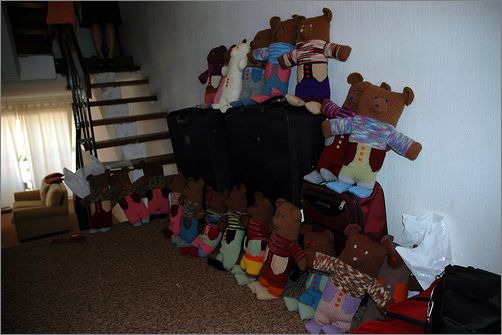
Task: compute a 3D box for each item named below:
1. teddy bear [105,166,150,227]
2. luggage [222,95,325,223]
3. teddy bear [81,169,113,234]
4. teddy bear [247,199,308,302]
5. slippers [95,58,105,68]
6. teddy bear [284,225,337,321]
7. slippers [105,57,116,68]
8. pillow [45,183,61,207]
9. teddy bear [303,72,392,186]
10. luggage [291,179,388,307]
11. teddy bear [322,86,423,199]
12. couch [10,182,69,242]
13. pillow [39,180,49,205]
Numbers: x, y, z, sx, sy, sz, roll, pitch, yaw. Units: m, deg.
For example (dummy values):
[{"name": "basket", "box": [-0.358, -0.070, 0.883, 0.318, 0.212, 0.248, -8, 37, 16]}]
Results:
[{"name": "teddy bear", "box": [-1.274, 0.303, 3.427, 0.308, 0.718, 0.162, -27, 1, -14]}, {"name": "luggage", "box": [0.230, -0.070, 2.812, 0.710, 0.993, 0.575, 9, 21, 39]}, {"name": "teddy bear", "box": [-1.531, 0.348, 3.357, 0.264, 0.592, 0.161, -8, 16, -16]}, {"name": "teddy bear", "box": [0.204, 0.620, 2.446, 0.325, 0.747, 0.573, 4, 9, -29]}, {"name": "slippers", "box": [-2.370, -1.636, 5.219, 0.128, 0.158, 0.307, -5, 16, -6]}, {"name": "teddy bear", "box": [0.427, 0.727, 2.316, 0.344, 0.598, 0.345, 3, -4, -43]}, {"name": "slippers", "box": [-2.258, -1.684, 5.332, 0.176, 0.164, 0.247, -10, 17, -20]}, {"name": "pillow", "box": [-3.552, 0.505, 5.981, 0.133, 0.190, 0.351, -5, 11, -23]}, {"name": "teddy bear", "box": [0.685, -0.253, 2.338, 0.311, 0.880, 0.536, 1, 20, -45]}, {"name": "luggage", "box": [0.744, 0.320, 2.540, 0.563, 0.763, 0.487, 16, 50, 35]}, {"name": "teddy bear", "box": [0.847, -0.170, 2.284, 0.576, 0.681, 0.219, 23, 8, 26]}, {"name": "couch", "box": [-3.989, 0.718, 6.226, 0.842, 0.853, 1.133, -7, 18, -35]}, {"name": "pillow", "box": [-4.110, 0.494, 6.605, 0.125, 0.427, 0.409, 5, -32, -37]}]
